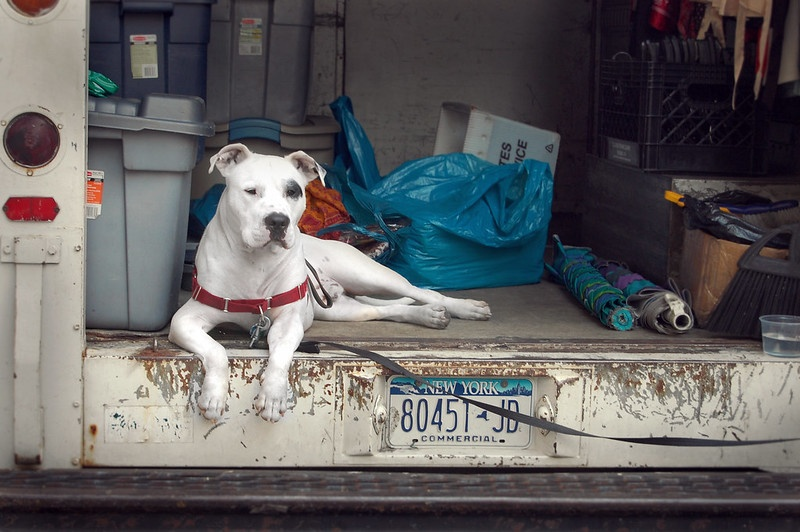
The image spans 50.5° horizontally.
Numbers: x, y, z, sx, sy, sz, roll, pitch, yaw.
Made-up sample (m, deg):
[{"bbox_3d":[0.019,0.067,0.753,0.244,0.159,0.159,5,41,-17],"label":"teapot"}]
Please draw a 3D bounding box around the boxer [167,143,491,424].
[{"bbox_3d":[-0.343,-0.097,3.411,0.903,0.698,1.240,7,14,11],"label":"boxer"}]

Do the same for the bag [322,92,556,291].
[{"bbox_3d":[0.185,-0.392,4.426,1.183,0.830,0.807,5,22,0],"label":"bag"}]
